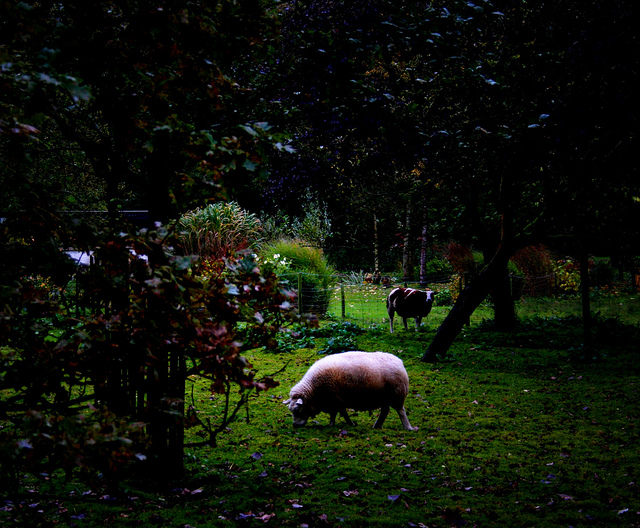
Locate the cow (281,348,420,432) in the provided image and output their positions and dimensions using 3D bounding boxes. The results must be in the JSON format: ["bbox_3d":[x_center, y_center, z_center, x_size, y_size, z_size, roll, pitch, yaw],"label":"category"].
[{"bbox_3d":[0.441,1.801,11.937,1.968,1.366,0.923,-2,-11,5],"label":"cow"}]

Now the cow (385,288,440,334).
[{"bbox_3d":[2.233,1.106,19.933,0.670,1.066,1.512,2,-5,-33],"label":"cow"}]
